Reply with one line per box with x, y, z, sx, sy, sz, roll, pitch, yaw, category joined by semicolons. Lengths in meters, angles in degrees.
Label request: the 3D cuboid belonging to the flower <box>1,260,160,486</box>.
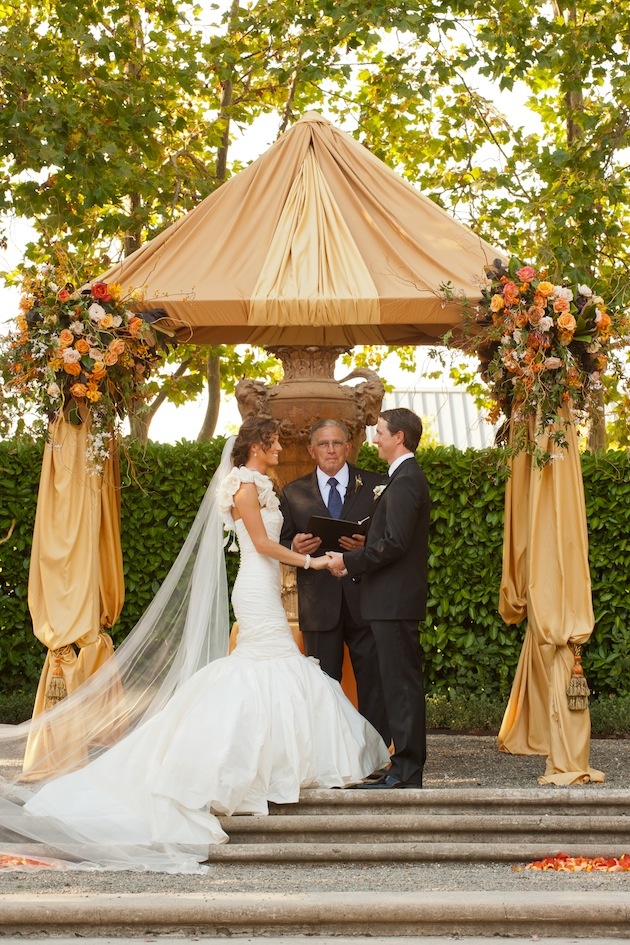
-1.299;-0.566;6.840;0.926;1.111;0.465;-1;4;-11;flower

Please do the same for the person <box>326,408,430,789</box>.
0.347;0.667;6.225;0.458;1.993;0.594;0;4;4;person

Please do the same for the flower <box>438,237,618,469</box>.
1.216;-0.643;6.887;0.886;1.206;0.657;2;4;27;flower

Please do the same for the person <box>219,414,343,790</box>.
-0.145;0.768;6.166;0.620;1.554;1.035;0;3;-2;person

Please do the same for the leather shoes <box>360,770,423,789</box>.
0.387;1.555;6.076;0.342;0.110;0.104;1;-18;10;leather shoes
